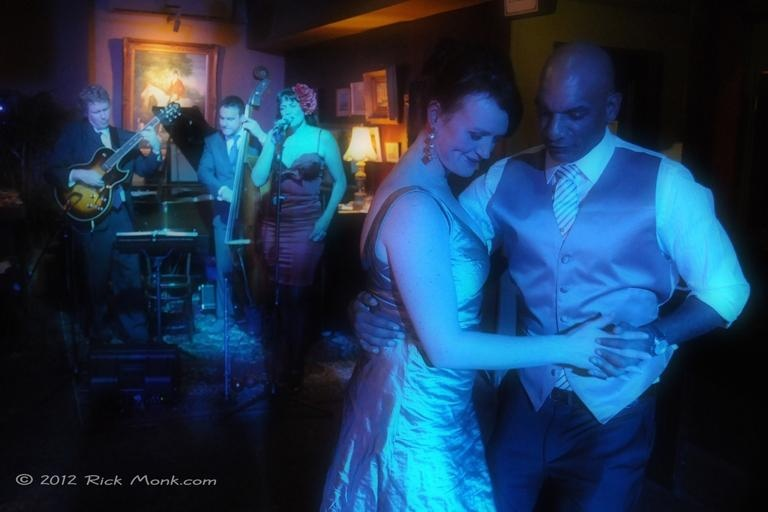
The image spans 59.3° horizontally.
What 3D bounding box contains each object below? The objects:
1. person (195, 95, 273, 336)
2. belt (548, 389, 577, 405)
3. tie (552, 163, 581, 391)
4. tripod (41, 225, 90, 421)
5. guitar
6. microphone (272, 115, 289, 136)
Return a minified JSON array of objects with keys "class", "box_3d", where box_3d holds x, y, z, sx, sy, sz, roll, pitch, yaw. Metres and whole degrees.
[{"class":"person","box_3d":[-1.228,-0.342,6.041,0.439,2.274,0.856,1,3,-16]},{"class":"belt","box_3d":[0.784,0.615,2.943,0.087,0.058,0.022,10,12,32]},{"class":"tie","box_3d":[0.787,0.064,3.038,0.127,0.955,0.156,4,7,39]},{"class":"tripod","box_3d":[-2.663,0.563,5.677,0.163,1.501,0.158,-1,-25,-27]},{"class":"guitar","box_3d":[-2.233,-0.868,5.849,0.578,1.527,0.189,41,-23,-16]},{"class":"microphone","box_3d":[-0.728,-0.916,4.764,0.102,0.123,0.208,0,10,-7]}]
